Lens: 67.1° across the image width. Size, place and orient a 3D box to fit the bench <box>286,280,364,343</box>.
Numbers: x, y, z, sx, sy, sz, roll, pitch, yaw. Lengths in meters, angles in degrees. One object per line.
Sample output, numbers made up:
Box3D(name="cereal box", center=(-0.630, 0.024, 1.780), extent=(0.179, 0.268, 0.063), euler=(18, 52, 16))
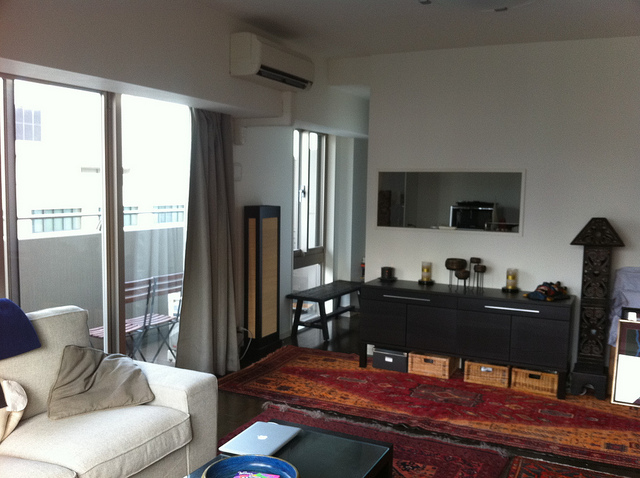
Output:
Box3D(name="bench", center=(0.167, 0.971, 6.825), extent=(0.511, 0.537, 1.626), euler=(2, 2, 24))

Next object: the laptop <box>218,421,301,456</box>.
Box3D(name="laptop", center=(-0.333, 1.145, 2.798), extent=(0.272, 0.067, 0.472), euler=(4, 7, 26))

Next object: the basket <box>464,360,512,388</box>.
Box3D(name="basket", center=(1.704, 1.372, 4.910), extent=(0.449, 0.203, 0.124), euler=(3, 7, 16))

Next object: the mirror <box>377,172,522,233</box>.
Box3D(name="mirror", center=(1.390, -0.420, 5.382), extent=(1.588, 0.727, 0.055), euler=(3, 2, 19))

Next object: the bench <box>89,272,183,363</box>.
Box3D(name="bench", center=(-1.690, 0.706, 4.382), extent=(0.356, 0.702, 0.919), euler=(2, 4, 15))

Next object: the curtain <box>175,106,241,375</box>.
Box3D(name="curtain", center=(-1.103, 0.012, 4.929), extent=(0.350, 2.614, 0.682), euler=(4, 5, 14))
